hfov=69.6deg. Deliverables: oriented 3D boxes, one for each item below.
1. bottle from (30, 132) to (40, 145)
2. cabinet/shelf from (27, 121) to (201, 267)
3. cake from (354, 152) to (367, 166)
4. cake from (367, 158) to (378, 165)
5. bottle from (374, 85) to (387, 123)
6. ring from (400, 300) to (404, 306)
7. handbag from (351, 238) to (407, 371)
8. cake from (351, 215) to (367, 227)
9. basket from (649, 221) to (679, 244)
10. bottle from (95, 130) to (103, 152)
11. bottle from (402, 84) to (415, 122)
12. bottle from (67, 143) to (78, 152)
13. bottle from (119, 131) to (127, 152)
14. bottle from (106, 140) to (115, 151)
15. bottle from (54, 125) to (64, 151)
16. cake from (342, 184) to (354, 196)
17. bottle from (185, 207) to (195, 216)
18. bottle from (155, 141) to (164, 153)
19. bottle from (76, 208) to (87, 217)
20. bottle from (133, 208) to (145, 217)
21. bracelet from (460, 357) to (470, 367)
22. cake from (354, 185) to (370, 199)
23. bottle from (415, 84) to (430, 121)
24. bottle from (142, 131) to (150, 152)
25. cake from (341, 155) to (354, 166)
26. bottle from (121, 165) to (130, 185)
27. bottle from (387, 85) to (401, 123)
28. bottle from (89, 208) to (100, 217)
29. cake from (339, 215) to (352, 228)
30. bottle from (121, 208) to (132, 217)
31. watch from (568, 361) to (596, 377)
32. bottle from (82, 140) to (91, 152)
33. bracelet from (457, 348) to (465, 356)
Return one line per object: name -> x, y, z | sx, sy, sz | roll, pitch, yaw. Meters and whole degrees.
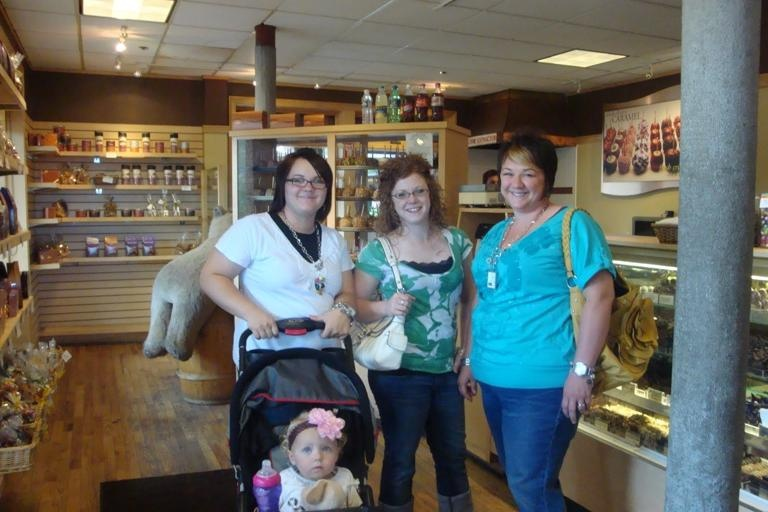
bottle -> -4.232, -1.407, 6.684 | 0.124, 0.183, 0.508 | -6, 8, -31
cabinet/shelf -> -3.559, -0.820, 7.096 | 1.976, 1.414, 0.656 | -1, 1, -18
cake -> -0.203, -0.823, 4.670 | 0.085, 0.099, 0.033 | 3, 9, 13
cake -> -0.100, -0.793, 4.669 | 0.094, 0.051, 0.089 | -2, -7, 13
bottle -> -0.019, -1.238, 4.537 | 0.102, 0.296, 0.124 | -1, 7, 0
ring -> 0.087, 0.217, 2.596 | 0.018, 0.017, 0.017 | 1, -5, 0
handbag -> -0.016, 0.241, 2.692 | 0.193, 0.676, 0.516 | 8, -16, -23
cake -> -0.213, -0.298, 4.773 | 0.111, 0.108, 0.111 | 1, 0, -11
basket -> 1.609, -0.132, 3.169 | 0.203, 0.104, 0.202 | 1, -7, 7
bottle -> -3.642, -1.454, 7.056 | 0.102, 0.276, 0.199 | -5, 8, -26
bottle -> 0.197, -1.235, 4.496 | 0.111, 0.307, 0.198 | -1, 7, 3
bottle -> -3.947, -1.371, 7.005 | 0.114, 0.083, 0.113 | -1, 5, 0
bottle -> -3.400, -1.482, 7.189 | 0.108, 0.262, 0.195 | -4, 8, -24
bottle -> -3.510, -1.411, 7.098 | 0.110, 0.153, 0.161 | -5, 8, -25
bottle -> -4.089, -1.475, 6.959 | 0.126, 0.312, 0.168 | -5, 8, -30
cake -> -0.300, -0.566, 4.754 | 0.100, 0.134, 0.099 | -4, 10, -38
bottle -> -2.646, -0.606, 7.519 | 0.123, 0.090, 0.095 | 1, -3, -17
bottle -> -2.917, -1.431, 7.275 | 0.138, 0.157, 0.139 | -1, 4, -5
bottle -> -3.878, -0.559, 7.077 | 0.111, 0.080, 0.110 | 1, -1, 0
bottle -> -3.230, -0.567, 7.283 | 0.112, 0.080, 0.111 | 1, -2, 0
bracelet -> 0.409, 0.523, 2.751 | 0.034, 0.027, 0.035 | 2, -4, -16
cake -> -0.184, -0.543, 4.822 | 0.112, 0.104, 0.111 | 2, -11, -1
bottle -> 0.318, -1.245, 4.528 | 0.122, 0.328, 0.382 | -1, 7, 3
bottle -> -3.144, -1.501, 7.295 | 0.094, 0.285, 0.294 | -4, 8, -22
cake -> -0.310, -0.814, 4.717 | 0.082, 0.077, 0.020 | -6, 12, 8
bottle -> -3.394, -1.067, 7.264 | 0.121, 0.261, 0.274 | -4, 8, -24
bottle -> 0.086, -1.241, 4.534 | 0.102, 0.316, 0.234 | -1, 7, 1
bottle -> -3.719, -0.551, 7.082 | 0.097, 0.065, 0.096 | 1, -1, 0
cake -> -0.333, -0.294, 4.738 | 0.100, 0.094, 0.099 | 2, -5, 1
bottle -> -3.382, -0.566, 7.255 | 0.119, 0.073, 0.119 | 2, 1, 0
watch -> 0.833, 0.473, 2.313 | 0.079, 0.057, 0.076 | 8, -5, 9
bottle -> -3.795, -1.379, 7.053 | 0.143, 0.160, 0.142 | 1, -3, -29
bracelet -> 0.385, 0.478, 2.771 | 0.027, 0.026, 0.049 | 12, -6, 2
